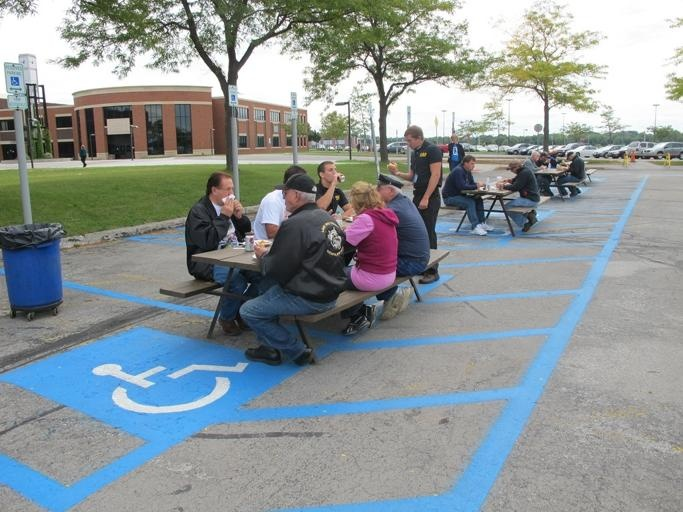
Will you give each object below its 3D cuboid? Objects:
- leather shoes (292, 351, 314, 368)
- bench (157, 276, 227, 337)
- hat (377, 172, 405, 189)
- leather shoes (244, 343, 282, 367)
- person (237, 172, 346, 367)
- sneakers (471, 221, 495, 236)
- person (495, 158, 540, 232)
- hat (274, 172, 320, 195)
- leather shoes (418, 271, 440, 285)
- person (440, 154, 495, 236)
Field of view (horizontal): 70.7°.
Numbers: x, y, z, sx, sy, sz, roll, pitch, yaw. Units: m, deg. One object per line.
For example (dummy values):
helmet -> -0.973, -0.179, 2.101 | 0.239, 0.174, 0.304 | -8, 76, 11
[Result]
leather shoes -> -0.420, 1.104, 5.162 | 0.257, 0.092, 0.137 | -22, -1, 29
bench -> -1.904, 0.671, 6.197 | 0.423, 0.402, 0.789 | 23, 26, 32
hat -> 0.656, -1.003, 6.378 | 0.320, 0.092, 0.225 | 8, 11, 7
leather shoes -> -0.822, 1.052, 5.265 | 0.495, 0.218, 0.169 | 11, 13, 17
person -> -0.488, 0.172, 4.985 | 1.094, 2.010, 0.383 | -4, 15, -7
sneakers -> 3.530, -0.682, 11.821 | 0.743, 0.238, 0.254 | -12, 19, -41
person -> 4.475, -1.523, 12.061 | 0.927, 1.735, 1.365 | 3, 14, 18
hat -> -0.440, -0.766, 4.952 | 0.330, 0.137, 0.224 | 20, 26, 24
leather shoes -> 1.413, 0.355, 7.884 | 0.417, 0.131, 0.153 | 0, -1, -43
person -> 3.065, -1.480, 11.627 | 1.133, 1.901, 0.954 | -6, 15, -16
